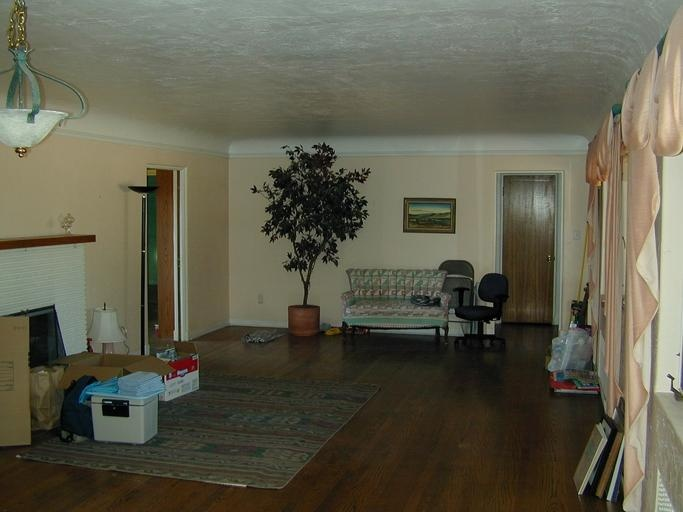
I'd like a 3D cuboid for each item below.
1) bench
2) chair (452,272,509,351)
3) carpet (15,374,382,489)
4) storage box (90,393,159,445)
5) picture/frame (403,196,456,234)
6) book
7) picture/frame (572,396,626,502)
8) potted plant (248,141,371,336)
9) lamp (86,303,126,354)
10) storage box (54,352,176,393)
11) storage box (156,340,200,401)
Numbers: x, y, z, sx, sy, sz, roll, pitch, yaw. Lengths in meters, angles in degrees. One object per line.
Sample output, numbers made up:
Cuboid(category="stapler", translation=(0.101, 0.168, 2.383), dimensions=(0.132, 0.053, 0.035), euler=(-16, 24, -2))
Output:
Cuboid(category="bench", translation=(0.918, 0.774, 8.630), dimensions=(1.723, 1.136, 0.947), euler=(0, -1, 5))
Cuboid(category="chair", translation=(2.289, 0.850, 8.425), dimensions=(0.788, 1.124, 1.077), euler=(1, 5, 14))
Cuboid(category="carpet", translation=(-1.247, 1.664, 5.272), dimensions=(2.771, 0.043, 2.352), euler=(1, 5, 13))
Cuboid(category="storage box", translation=(-2.034, 1.491, 4.873), dimensions=(0.565, 0.471, 0.460), euler=(0, 6, -5))
Cuboid(category="picture/frame", translation=(1.554, -0.710, 9.053), dimensions=(0.932, 0.658, 0.031), euler=(2, 22, 13))
Cuboid(category="book", translation=(1.831, 1.465, 3.911), dimensions=(0.176, 0.598, 0.576), euler=(10, -1, 12))
Cuboid(category="picture/frame", translation=(1.823, 1.471, 3.920), dimensions=(0.192, 0.598, 0.577), euler=(10, -2, 12))
Cuboid(category="potted plant", translation=(-0.500, -0.313, 8.891), dimensions=(1.949, 3.347, 1.128), euler=(0, 5, 5))
Cuboid(category="lamp", translation=(-2.738, 0.919, 5.949), dimensions=(0.427, 0.656, 0.401), euler=(-7, 19, -33))
Cuboid(category="storage box", translation=(-2.407, 1.246, 5.318), dimensions=(1.098, 0.330, 0.971), euler=(2, 2, -4))
Cuboid(category="storage box", translation=(-2.018, 1.316, 5.948), dimensions=(0.460, 0.578, 0.617), euler=(-2, 0, 26))
